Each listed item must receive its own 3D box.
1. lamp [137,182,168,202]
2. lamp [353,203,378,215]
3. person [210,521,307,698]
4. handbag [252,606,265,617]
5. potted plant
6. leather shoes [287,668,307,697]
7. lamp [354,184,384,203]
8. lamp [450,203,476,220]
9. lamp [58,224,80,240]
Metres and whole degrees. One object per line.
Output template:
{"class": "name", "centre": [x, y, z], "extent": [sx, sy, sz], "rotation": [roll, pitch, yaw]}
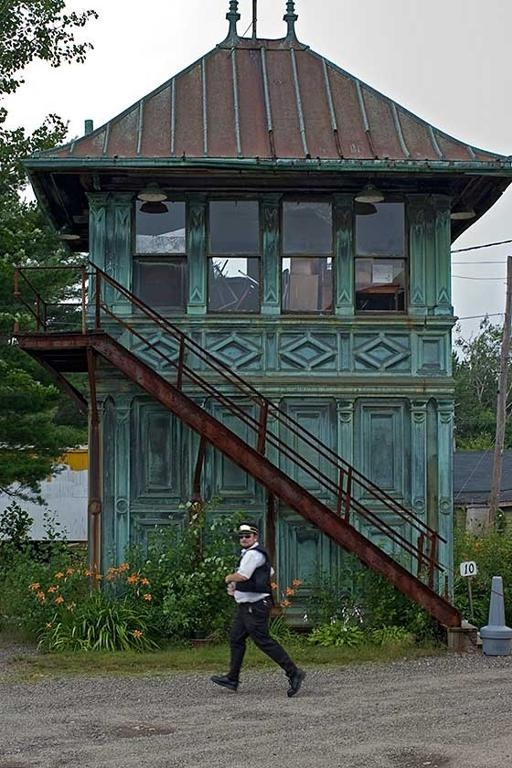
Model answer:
{"class": "lamp", "centre": [-1.336, -2.548, 20.682], "extent": [0.378, 0.261, 0.538], "rotation": [1, 8, -5]}
{"class": "lamp", "centre": [1.491, -2.371, 21.045], "extent": [0.303, 0.171, 0.076], "rotation": [2, 8, 3]}
{"class": "person", "centre": [-0.006, 2.459, 16.507], "extent": [0.849, 1.817, 0.956], "rotation": [-2, 8, -21]}
{"class": "handbag", "centre": [0.048, 2.416, 16.322], "extent": [0.113, 0.134, 0.089], "rotation": [-3, -6, 2]}
{"class": "potted plant", "centre": [-0.730, 2.988, 19.394], "extent": [1.030, 0.679, 1.200], "rotation": [-5, 41, 4]}
{"class": "leather shoes", "centre": [0.454, 3.137, 16.364], "extent": [0.159, 0.394, 0.125], "rotation": [17, 22, 5]}
{"class": "lamp", "centre": [1.505, -2.513, 20.661], "extent": [0.241, 0.173, 0.269], "rotation": [0, 8, -9]}
{"class": "lamp", "centre": [2.965, -2.449, 22.256], "extent": [0.345, 0.237, 0.669], "rotation": [3, 9, 8]}
{"class": "lamp", "centre": [-2.771, -2.282, 23.494], "extent": [0.310, 0.292, 0.927], "rotation": [1, 9, -5]}
